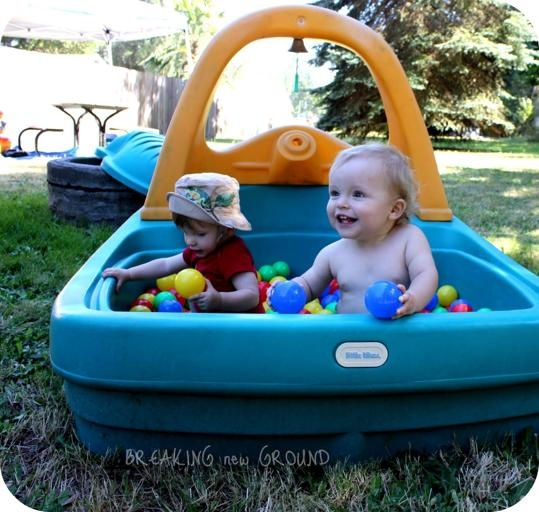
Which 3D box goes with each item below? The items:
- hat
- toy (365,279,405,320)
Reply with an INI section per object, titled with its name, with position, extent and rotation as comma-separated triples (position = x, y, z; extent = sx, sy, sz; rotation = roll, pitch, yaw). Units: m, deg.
[hat]
position = -0.186, -0.168, 1.452
extent = 0.204, 0.122, 0.167
rotation = 12, 15, -15
[toy]
position = 0.229, 0.090, 0.971
extent = 0.067, 0.079, 0.073
rotation = 7, 7, 41
